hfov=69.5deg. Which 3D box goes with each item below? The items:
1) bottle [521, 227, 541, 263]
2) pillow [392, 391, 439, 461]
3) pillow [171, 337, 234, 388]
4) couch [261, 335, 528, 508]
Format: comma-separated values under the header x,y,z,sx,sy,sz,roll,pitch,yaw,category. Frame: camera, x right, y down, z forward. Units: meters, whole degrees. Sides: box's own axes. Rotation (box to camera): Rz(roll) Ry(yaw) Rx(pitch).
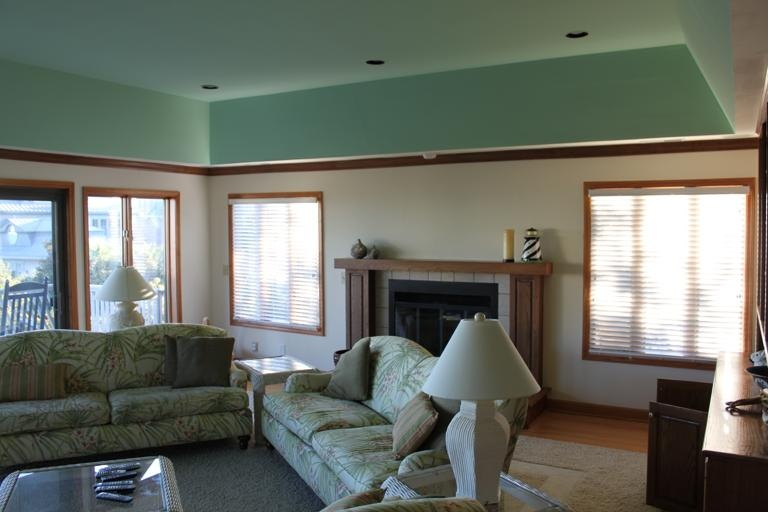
x,y,z,sx,sy,sz,roll,pitch,yaw,category
1.642,-0.114,6.214,0.269,0.371,0.271,3,-1,0,bottle
0.253,1.220,4.059,0.120,0.393,0.390,27,-53,-21,pillow
-1.805,1.058,5.547,0.644,0.586,0.231,1,-24,1,pillow
0.048,1.260,4.127,0.745,0.644,1.524,2,-1,-30,couch
